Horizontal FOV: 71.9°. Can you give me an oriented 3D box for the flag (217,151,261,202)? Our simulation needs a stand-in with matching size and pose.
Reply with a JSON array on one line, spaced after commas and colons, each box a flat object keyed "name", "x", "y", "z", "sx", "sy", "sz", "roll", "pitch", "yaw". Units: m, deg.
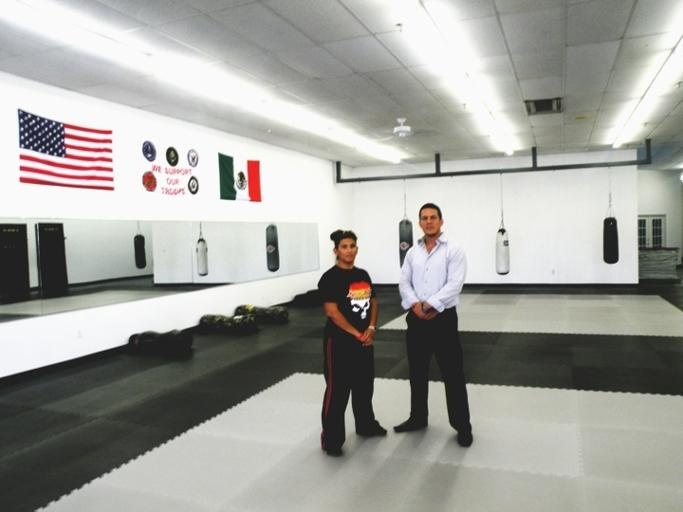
[{"name": "flag", "x": -2.095, "y": -1.607, "z": 9.813, "sx": 0.074, "sy": 0.900, "sz": 1.174, "roll": 3, "pitch": 7, "yaw": 32}]

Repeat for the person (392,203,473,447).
[{"name": "person", "x": 0.841, "y": 0.610, "z": 4.375, "sx": 0.542, "sy": 2.172, "sz": 0.732, "roll": -5, "pitch": 7, "yaw": -37}]

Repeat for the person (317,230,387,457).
[{"name": "person", "x": 0.078, "y": 0.769, "z": 4.297, "sx": 0.593, "sy": 1.965, "sz": 0.285, "roll": -4, "pitch": 6, "yaw": -26}]

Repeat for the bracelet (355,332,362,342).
[{"name": "bracelet", "x": 0.147, "y": 0.718, "z": 4.178, "sx": 0.070, "sy": 0.032, "sz": 0.100, "roll": 4, "pitch": 7, "yaw": 0}]

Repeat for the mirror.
[{"name": "mirror", "x": -2.819, "y": 0.004, "z": 8.717, "sx": 0.770, "sy": 1.497, "sz": 6.158, "roll": 3, "pitch": 7, "yaw": 38}]
